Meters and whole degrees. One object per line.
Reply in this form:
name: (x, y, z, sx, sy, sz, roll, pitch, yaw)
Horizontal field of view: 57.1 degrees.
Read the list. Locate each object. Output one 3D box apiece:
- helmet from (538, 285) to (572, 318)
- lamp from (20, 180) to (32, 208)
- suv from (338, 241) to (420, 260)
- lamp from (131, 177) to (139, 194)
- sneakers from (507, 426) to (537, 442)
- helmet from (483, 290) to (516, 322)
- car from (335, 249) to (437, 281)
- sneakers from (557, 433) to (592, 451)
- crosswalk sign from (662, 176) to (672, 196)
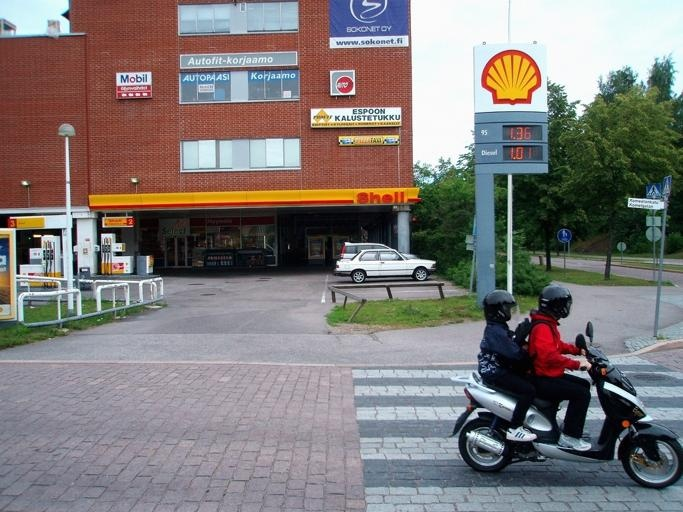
helmet: (2.672, 0.550, 7.852, 0.438, 0.407, 0.353, 2, 5, 19)
lamp: (-17.106, -3.406, 34.135, 0.525, 1.481, 0.373, -2, 8, -14)
suv: (1.503, -0.378, 29.219, 2.952, 1.008, 1.325, -1, 2, -2)
lamp: (-11.065, -3.835, 33.735, 0.452, 0.817, 0.276, 0, 8, -1)
sneakers: (2.148, 2.146, 7.662, 0.407, 0.187, 0.146, -1, -9, 5)
helmet: (1.980, 0.606, 7.924, 0.419, 0.353, 0.328, -1, -8, -1)
car: (1.929, 0.425, 28.217, 4.020, 1.268, 1.652, -1, 0, 0)
sneakers: (2.805, 2.230, 7.578, 0.355, 0.165, 0.177, 1, -1, -3)
crosswalk sign: (7.358, -1.583, 14.233, 0.136, 0.475, 0.572, 3, 8, 25)
